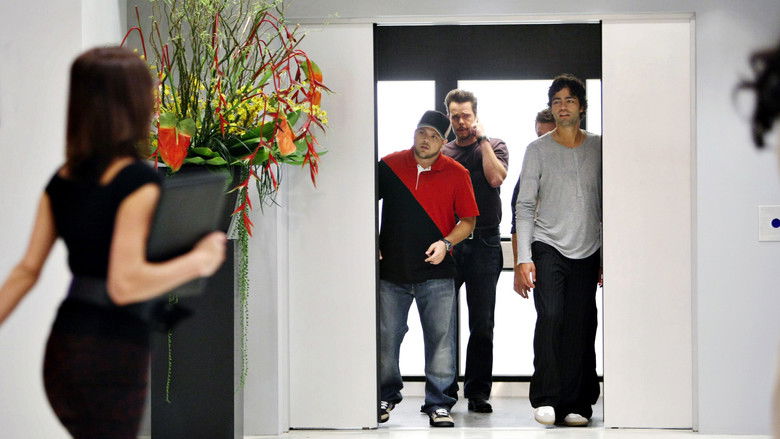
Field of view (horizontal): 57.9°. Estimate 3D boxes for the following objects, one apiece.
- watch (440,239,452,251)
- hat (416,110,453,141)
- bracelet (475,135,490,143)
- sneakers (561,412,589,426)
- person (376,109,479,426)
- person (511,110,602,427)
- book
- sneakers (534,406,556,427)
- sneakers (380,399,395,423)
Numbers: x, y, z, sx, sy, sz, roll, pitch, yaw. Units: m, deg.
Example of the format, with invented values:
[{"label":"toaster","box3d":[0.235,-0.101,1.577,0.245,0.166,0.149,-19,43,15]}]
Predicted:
[{"label":"watch","box3d":[0.395,0.181,4.978,0.085,0.089,0.037,-1,1,-22]},{"label":"hat","box3d":[0.328,-0.710,5.113,0.177,0.125,0.250,22,-9,14]},{"label":"bracelet","box3d":[0.697,-0.607,5.288,0.072,0.048,0.066,-2,-21,4]},{"label":"sneakers","box3d":[1.280,1.386,4.877,0.181,0.071,0.073,-2,2,-1]},{"label":"person","box3d":[0.268,0.326,5.006,0.691,2.226,0.351,0,1,2]},{"label":"person","box3d":[1.182,0.242,4.954,0.579,2.377,0.263,0,1,11]},{"label":"book","box3d":[-0.976,0.033,3.461,0.589,0.538,0.138,0,5,-37]},{"label":"sneakers","box3d":[1.080,1.371,4.902,0.145,0.133,0.084,0,1,13]},{"label":"sneakers","box3d":[-0.036,1.349,4.923,0.059,0.150,0.165,0,2,24]}]
